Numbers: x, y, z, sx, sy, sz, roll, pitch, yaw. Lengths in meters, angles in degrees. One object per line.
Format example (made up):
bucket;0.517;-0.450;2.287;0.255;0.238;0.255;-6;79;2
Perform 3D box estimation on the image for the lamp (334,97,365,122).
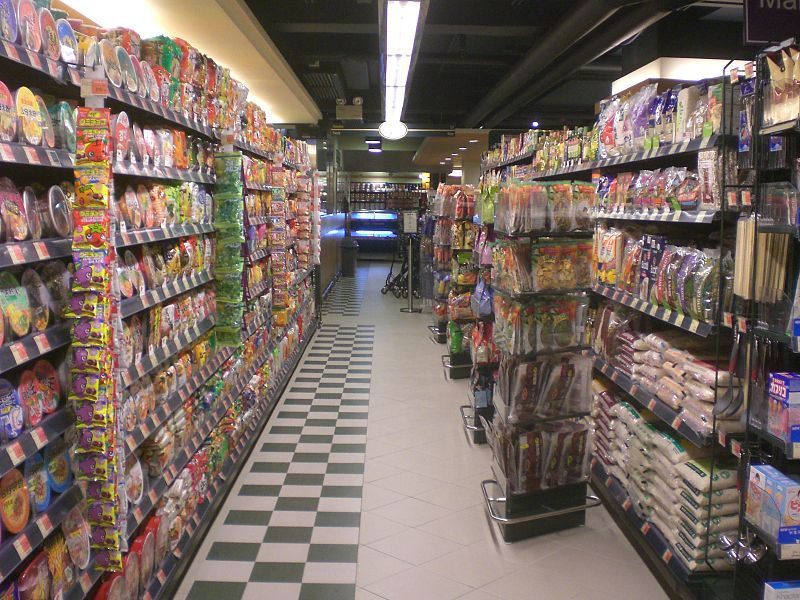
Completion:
lamp;-1.169;-4.227;12.784;0.634;0.645;0.627;0;2;-5
